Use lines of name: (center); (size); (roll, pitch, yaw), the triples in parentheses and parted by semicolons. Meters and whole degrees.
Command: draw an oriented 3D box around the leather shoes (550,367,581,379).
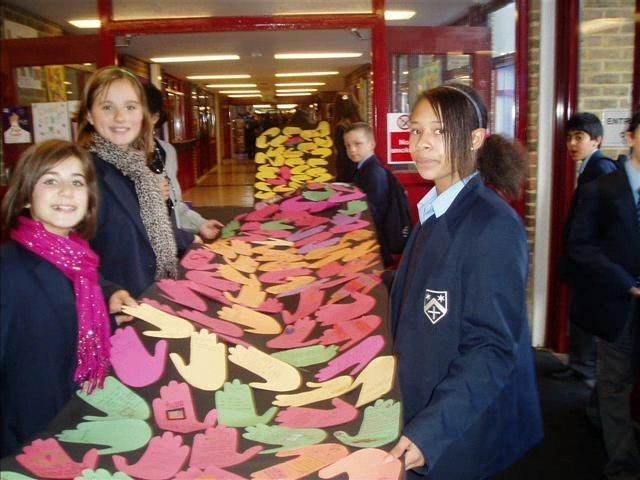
leather shoes: (1.696, 0.929, 3.370); (0.121, 0.037, 0.096); (-5, 13, -22)
